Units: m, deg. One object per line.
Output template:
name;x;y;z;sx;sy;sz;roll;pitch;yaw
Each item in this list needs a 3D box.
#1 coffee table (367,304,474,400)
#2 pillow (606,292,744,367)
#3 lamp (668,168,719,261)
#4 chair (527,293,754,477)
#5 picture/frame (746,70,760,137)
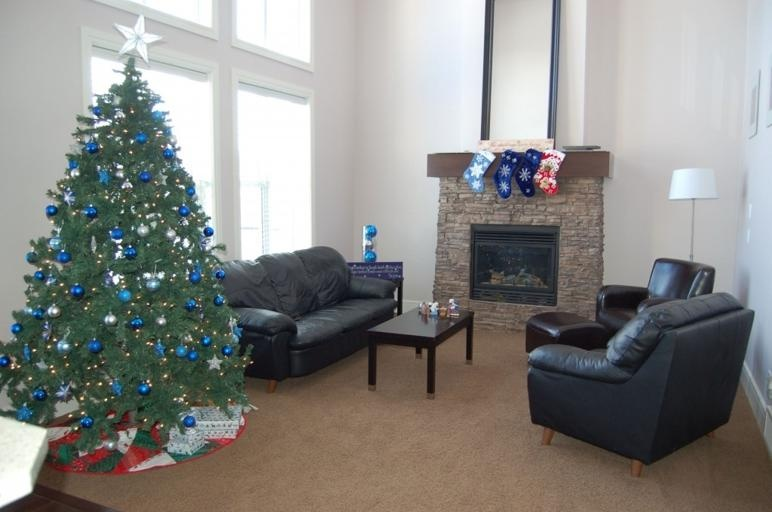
coffee table;0.292;0.649;5.688;0.686;0.604;1.280;2;7;24
pillow;2.101;0.551;4.310;0.980;0.456;0.357;-6;10;-25
lamp;3.498;-0.442;6.664;0.469;1.096;0.867;3;10;28
chair;2.001;0.727;4.617;1.469;1.281;1.371;-7;8;-39
picture/frame;3.767;-1.549;5.979;0.010;0.673;0.976;1;10;39
